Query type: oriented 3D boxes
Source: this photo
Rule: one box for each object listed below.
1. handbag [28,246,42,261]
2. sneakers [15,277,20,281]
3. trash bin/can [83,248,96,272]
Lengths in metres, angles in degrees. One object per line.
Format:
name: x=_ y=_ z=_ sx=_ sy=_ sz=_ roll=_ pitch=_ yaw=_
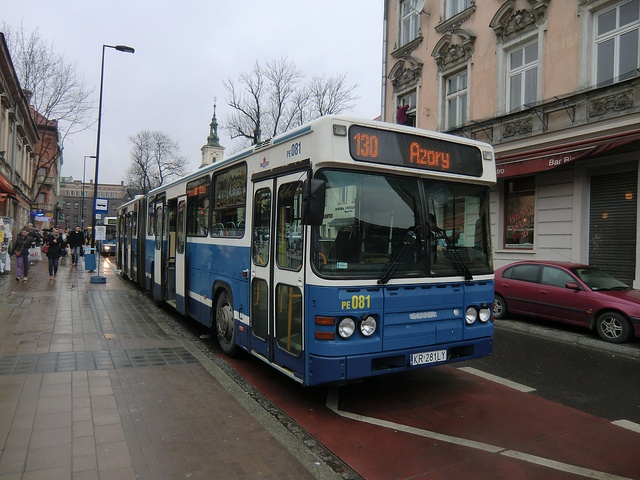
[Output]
handbag: x=-13.150 y=0.621 z=24.113 sx=0.283 sy=0.817 sz=0.757 roll=-7 pitch=-7 yaw=36
sneakers: x=-10.335 y=1.325 z=17.908 sx=0.095 sy=0.142 sz=0.128 roll=-6 pitch=-8 yaw=38
trash bin/can: x=-10.035 y=0.892 z=22.908 sx=0.372 sy=1.033 sz=0.580 roll=-4 pitch=10 yaw=-32
